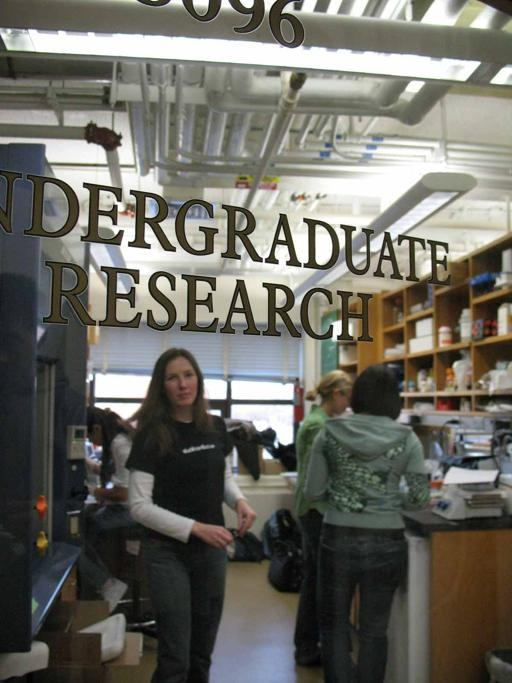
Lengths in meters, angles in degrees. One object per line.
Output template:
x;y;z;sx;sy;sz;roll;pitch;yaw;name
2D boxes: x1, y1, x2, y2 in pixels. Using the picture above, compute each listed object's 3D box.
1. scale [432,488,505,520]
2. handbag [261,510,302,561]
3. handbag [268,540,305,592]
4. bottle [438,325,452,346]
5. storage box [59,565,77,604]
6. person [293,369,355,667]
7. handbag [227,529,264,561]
0.649;0.489;1.826;0.151;0.052;0.126;1;-6;1;scale
0.067;0.508;1.607;0.065;0.122;0.089;-2;-9;2;handbag
0.093;0.601;1.628;0.108;0.148;0.082;-4;0;10;handbag
0.563;-0.016;1.802;0.055;0.066;0.010;4;-6;-26;bottle
-0.478;0.620;1.532;0.033;0.088;0.093;2;1;-2;storage box
0.147;0.474;1.574;0.130;0.796;0.209;-2;-6;35;person
-0.017;0.528;1.577;0.101;0.063;0.048;2;36;12;handbag
